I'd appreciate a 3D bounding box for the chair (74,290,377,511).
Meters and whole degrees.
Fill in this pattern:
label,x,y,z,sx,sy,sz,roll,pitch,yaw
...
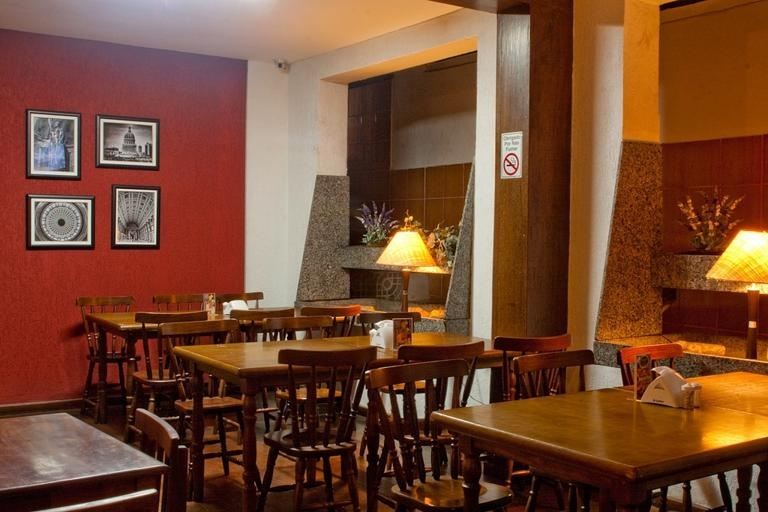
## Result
label,x,y,z,sx,sy,sz,roll,pitch,yaw
chair,-0.819,0.935,4.481,1.176,1.040,1.396,-1,2,-32

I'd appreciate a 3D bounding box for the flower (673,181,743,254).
label,x,y,z,sx,sy,sz,roll,pitch,yaw
flower,2.926,-0.346,5.629,0.671,0.688,0.712,7,4,37

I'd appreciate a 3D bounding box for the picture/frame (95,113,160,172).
label,x,y,z,sx,sy,sz,roll,pitch,yaw
picture/frame,-2.929,-1.296,7.084,0.681,0.689,0.049,-4,4,-29

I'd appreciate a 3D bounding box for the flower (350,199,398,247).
label,x,y,z,sx,sy,sz,roll,pitch,yaw
flower,-0.107,-0.402,7.681,0.584,0.590,0.572,2,1,43

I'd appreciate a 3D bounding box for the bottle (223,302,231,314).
label,x,y,z,sx,sy,sz,roll,pitch,yaw
bottle,-1.603,0.530,6.395,0.106,0.124,0.123,3,-5,-30

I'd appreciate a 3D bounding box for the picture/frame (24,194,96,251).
label,x,y,z,sx,sy,sz,roll,pitch,yaw
picture/frame,-3.542,-0.368,6.792,0.639,0.632,0.046,0,-1,-34

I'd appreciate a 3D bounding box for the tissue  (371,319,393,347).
label,x,y,z,sx,sy,sz,roll,pitch,yaw
tissue ,-0.029,0.596,4.801,0.140,0.160,0.215,3,1,-33

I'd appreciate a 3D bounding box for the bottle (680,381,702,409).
label,x,y,z,sx,sy,sz,roll,pitch,yaw
bottle,1.575,0.721,3.232,0.126,0.136,0.070,0,2,-14

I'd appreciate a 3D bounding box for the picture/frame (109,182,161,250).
label,x,y,z,sx,sy,sz,roll,pitch,yaw
picture/frame,-2.856,-0.462,7.136,0.754,1.022,0.074,-2,3,-36

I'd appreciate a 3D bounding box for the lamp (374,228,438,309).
label,x,y,z,sx,sy,sz,roll,pitch,yaw
lamp,0.215,0.205,6.090,0.591,0.877,0.603,0,-2,38

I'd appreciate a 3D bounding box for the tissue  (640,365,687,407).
label,x,y,z,sx,sy,sz,roll,pitch,yaw
tissue ,1.503,0.694,3.354,0.174,0.180,0.237,0,0,-40

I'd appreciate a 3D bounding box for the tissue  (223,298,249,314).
label,x,y,z,sx,sy,sz,roll,pitch,yaw
tissue ,-1.528,0.502,6.422,0.172,0.086,0.221,3,-3,-30
